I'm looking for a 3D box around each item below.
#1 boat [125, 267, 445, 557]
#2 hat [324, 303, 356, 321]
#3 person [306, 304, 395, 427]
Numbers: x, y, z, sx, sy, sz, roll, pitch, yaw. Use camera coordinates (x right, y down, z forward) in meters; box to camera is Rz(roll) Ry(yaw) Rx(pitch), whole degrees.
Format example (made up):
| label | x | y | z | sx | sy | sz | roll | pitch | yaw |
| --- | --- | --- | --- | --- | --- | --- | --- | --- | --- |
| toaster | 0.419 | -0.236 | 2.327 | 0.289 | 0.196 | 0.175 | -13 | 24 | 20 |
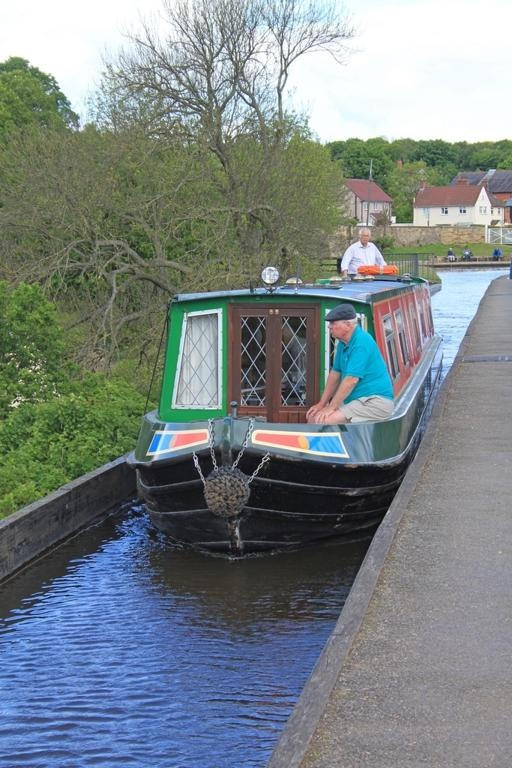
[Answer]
| label | x | y | z | sx | sy | sz | roll | pitch | yaw |
| --- | --- | --- | --- | --- | --- | --- | --- | --- | --- |
| boat | 0.537 | 0.147 | 8.028 | 2.076 | 2.517 | 3.608 | 2 | 8 | 31 |
| hat | 0.711 | -0.583 | 6.624 | 0.195 | 0.091 | 0.139 | 0 | 6 | -8 |
| person | 0.775 | -0.159 | 6.986 | 0.565 | 1.033 | 0.714 | 5 | 10 | 43 |
